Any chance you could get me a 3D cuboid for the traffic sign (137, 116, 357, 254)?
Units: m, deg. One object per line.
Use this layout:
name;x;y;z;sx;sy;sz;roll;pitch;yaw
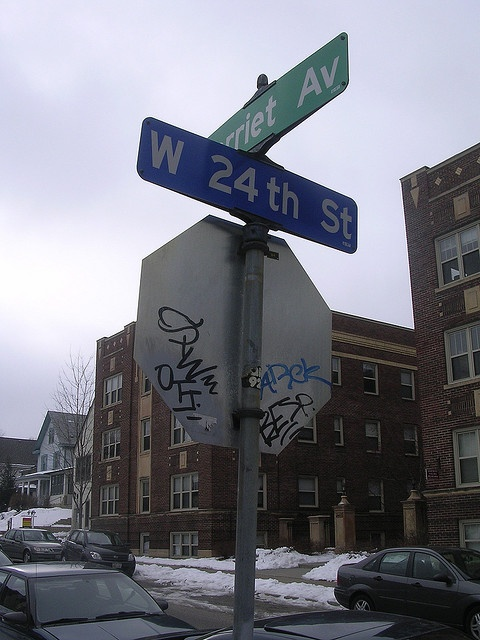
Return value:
traffic sign;0.079;-0.464;2.113;0.950;0.302;0.077;10;-17;-33
